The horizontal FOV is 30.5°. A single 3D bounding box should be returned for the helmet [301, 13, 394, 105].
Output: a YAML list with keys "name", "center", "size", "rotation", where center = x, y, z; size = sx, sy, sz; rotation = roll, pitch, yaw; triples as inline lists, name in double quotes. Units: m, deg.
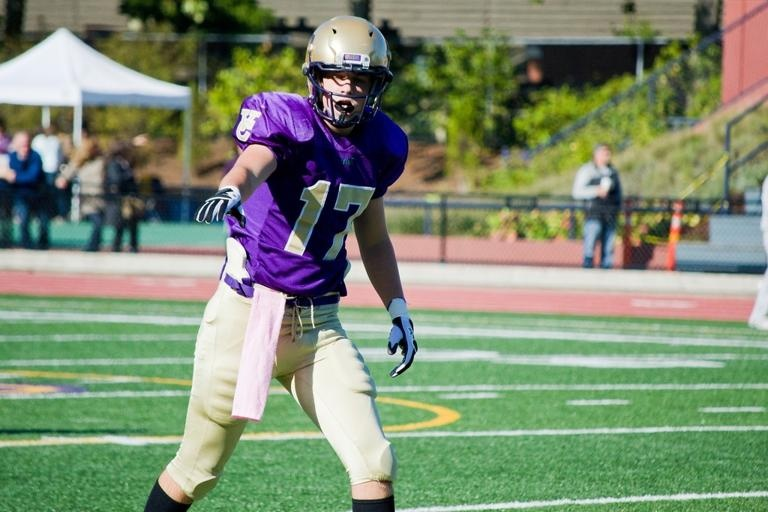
- name: "helmet"
  center: [-0.227, -1.063, 7.912]
  size: [0.488, 0.464, 0.597]
  rotation: [1, 9, -21]

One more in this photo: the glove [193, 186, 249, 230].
- name: "glove"
  center: [-0.865, -0.246, 7.472]
  size: [0.284, 0.252, 0.226]
  rotation: [-4, 15, -16]
